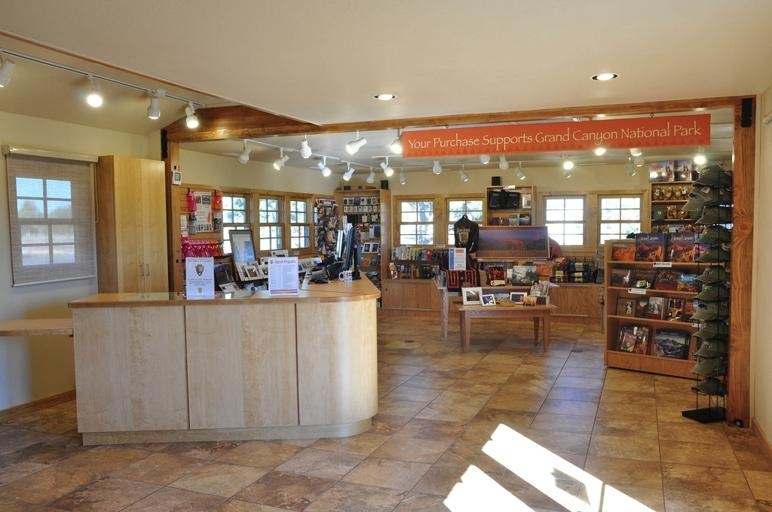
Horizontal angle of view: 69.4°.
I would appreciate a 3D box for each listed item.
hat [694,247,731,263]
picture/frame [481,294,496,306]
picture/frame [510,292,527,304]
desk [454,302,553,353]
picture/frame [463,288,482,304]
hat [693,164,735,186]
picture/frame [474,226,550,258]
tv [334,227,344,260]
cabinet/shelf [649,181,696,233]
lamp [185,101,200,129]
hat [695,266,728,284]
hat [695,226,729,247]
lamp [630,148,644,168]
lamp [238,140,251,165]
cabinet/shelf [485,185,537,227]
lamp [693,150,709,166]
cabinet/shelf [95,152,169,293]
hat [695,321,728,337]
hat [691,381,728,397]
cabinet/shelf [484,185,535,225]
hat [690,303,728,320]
[{"bbox_3d":[3.870,0.000,6.571,0.388,0.197,0.226,0,11,3],"label":"hat"},{"bbox_3d":[1.710,0.747,9.340,0.204,0.154,0.067,0,-15,-4],"label":"picture/frame"},{"bbox_3d":[2.258,0.732,9.482,0.201,0.143,0.014,4,-14,17],"label":"picture/frame"},{"bbox_3d":[2.118,1.147,10.076,1.564,0.930,1.930,1,10,9],"label":"desk"},{"bbox_3d":[1.457,0.690,9.416,0.324,0.228,0.023,0,-14,-6],"label":"picture/frame"},{"bbox_3d":[4.022,-0.959,6.690,0.513,0.203,0.281,-1,3,-3],"label":"hat"},{"bbox_3d":[2.474,-0.240,10.829,1.312,0.613,0.454,0,11,7],"label":"picture/frame"},{"bbox_3d":[-0.635,-0.160,7.651,0.138,0.362,0.296,-2,11,-4],"label":"tv"},{"bbox_3d":[5.928,-1.009,11.538,0.807,1.000,0.430,3,13,21],"label":"cabinet/shelf"},{"bbox_3d":[-2.720,-1.977,7.797,0.173,0.360,0.770,-5,11,-17],"label":"lamp"},{"bbox_3d":[3.917,0.241,6.586,0.431,0.200,0.169,-4,11,-17],"label":"hat"},{"bbox_3d":[3.901,-0.226,6.593,0.337,0.240,0.206,4,12,27],"label":"hat"},{"bbox_3d":[4.931,-1.904,10.950,0.242,0.346,2.745,4,11,23],"label":"lamp"},{"bbox_3d":[-2.426,-1.768,9.506,0.161,0.365,1.395,-4,10,-14],"label":"lamp"},{"bbox_3d":[2.833,-1.118,12.487,1.241,0.934,0.380,1,7,10],"label":"cabinet/shelf"},{"bbox_3d":[5.904,-1.820,10.403,0.174,0.330,2.323,5,11,29],"label":"lamp"},{"bbox_3d":[-3.702,-0.441,8.048,0.552,1.984,0.966,7,14,34],"label":"cabinet/shelf"},{"bbox_3d":[3.872,0.876,6.618,0.301,0.122,0.173,0,0,6],"label":"hat"},{"bbox_3d":[3.859,1.582,6.626,0.376,0.122,0.190,3,-6,-10],"label":"hat"},{"bbox_3d":[2.940,-1.083,12.673,1.250,1.023,0.448,6,11,44],"label":"cabinet/shelf"},{"bbox_3d":[3.861,0.667,6.627,0.335,0.136,0.204,-1,-1,1],"label":"hat"}]
